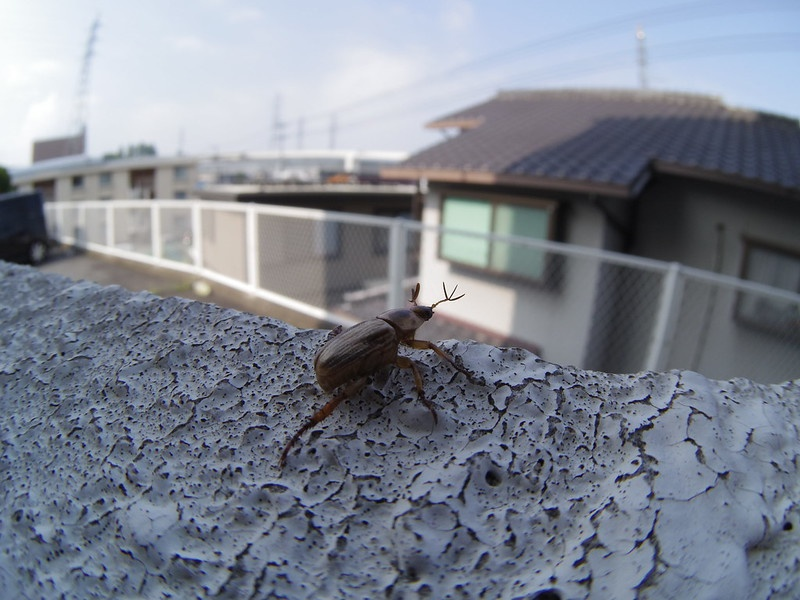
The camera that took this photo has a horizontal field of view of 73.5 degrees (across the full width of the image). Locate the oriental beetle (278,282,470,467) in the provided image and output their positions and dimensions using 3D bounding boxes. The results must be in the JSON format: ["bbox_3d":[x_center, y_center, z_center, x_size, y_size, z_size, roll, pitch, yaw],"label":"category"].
[{"bbox_3d":[-0.056,0.120,1.132,0.465,0.155,0.358,-24,21,-29],"label":"oriental beetle"}]

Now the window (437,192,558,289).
[{"bbox_3d":[0.394,-0.240,2.094,0.326,0.252,0.027,13,29,21],"label":"window"}]
